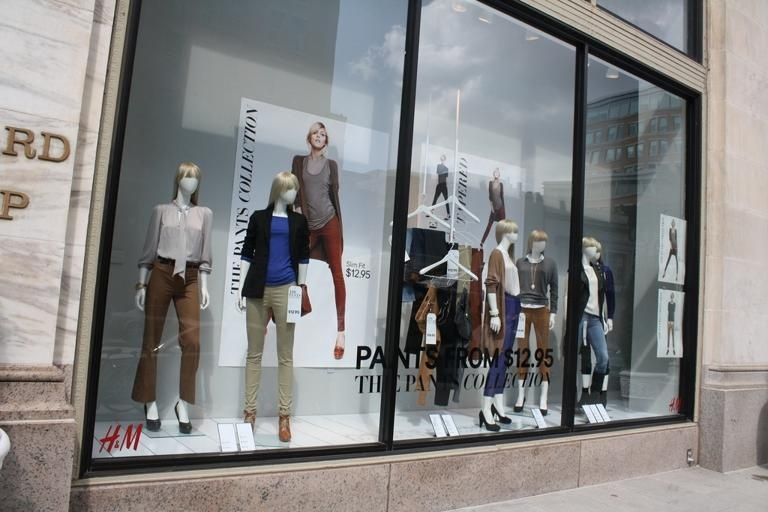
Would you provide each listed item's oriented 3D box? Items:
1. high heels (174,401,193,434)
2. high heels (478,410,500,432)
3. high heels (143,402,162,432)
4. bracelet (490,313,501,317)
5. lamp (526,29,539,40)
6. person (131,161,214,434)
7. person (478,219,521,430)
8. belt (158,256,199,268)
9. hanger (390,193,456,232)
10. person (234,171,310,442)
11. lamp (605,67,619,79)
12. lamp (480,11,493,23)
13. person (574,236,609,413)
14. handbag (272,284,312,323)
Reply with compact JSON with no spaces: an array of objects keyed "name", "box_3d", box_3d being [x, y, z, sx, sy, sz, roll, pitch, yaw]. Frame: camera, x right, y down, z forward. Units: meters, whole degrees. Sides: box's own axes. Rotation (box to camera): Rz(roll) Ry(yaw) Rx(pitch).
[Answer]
[{"name":"high heels","box_3d":[-1.469,1.175,4.242,0.087,0.269,0.102,3,-47,-44]},{"name":"high heels","box_3d":[0.962,1.530,5.343,0.231,0.180,0.127,4,-9,27]},{"name":"high heels","box_3d":[-1.633,1.162,4.106,0.075,0.099,0.226,11,4,-36]},{"name":"bracelet","box_3d":[1.052,0.564,5.475,0.089,0.023,0.012,4,-8,-21]},{"name":"lamp","box_3d":[1.463,-2.165,5.711,0.151,0.081,0.035,5,-9,-29]},{"name":"person","box_3d":[-1.541,0.293,4.236,0.502,1.970,0.193,4,-8,-18]},{"name":"person","box_3d":[1.113,0.648,5.498,0.436,1.964,0.180,7,-10,-38]},{"name":"belt","box_3d":[-1.504,0.042,4.254,0.300,0.065,0.038,6,-9,-36]},{"name":"hanger","box_3d":[0.427,-0.393,5.157,0.497,0.254,0.032,6,-9,-32]},{"name":"person","box_3d":[-0.890,0.389,4.540,0.495,2.099,0.177,4,-8,-17]},{"name":"lamp","box_3d":[2.434,-1.939,6.179,0.113,0.113,0.118,2,-1,10]},{"name":"lamp","box_3d":[0.971,-2.265,5.481,0.110,0.053,0.064,13,-17,-32]},{"name":"person","box_3d":[2.201,0.677,6.038,0.497,1.714,0.149,8,-10,-42]},{"name":"handbag","box_3d":[-0.746,0.375,4.590,0.277,0.281,0.107,7,-8,-44]}]
